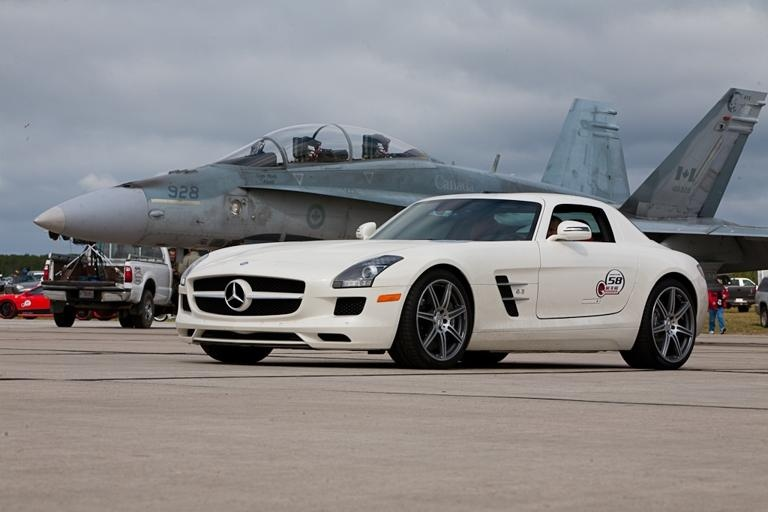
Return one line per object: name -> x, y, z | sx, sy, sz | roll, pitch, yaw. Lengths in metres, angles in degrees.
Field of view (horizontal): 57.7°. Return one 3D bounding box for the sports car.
sports car -> 0.779, 0.214, 7.333 | 5.433, 1.961, 1.263 | 2, -1, -19
